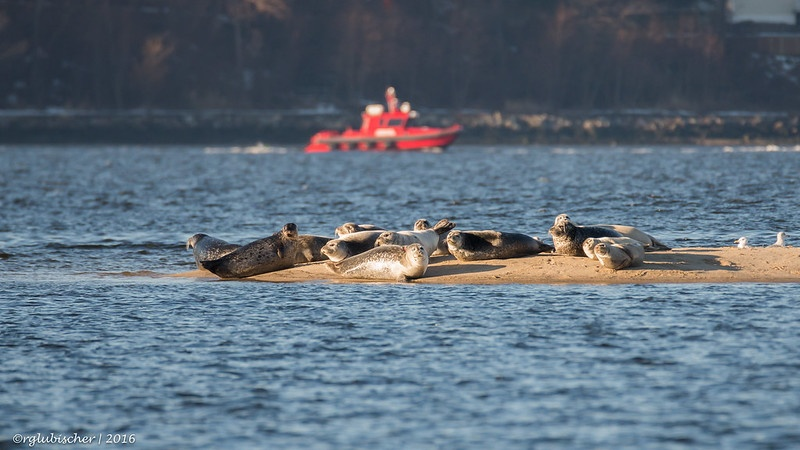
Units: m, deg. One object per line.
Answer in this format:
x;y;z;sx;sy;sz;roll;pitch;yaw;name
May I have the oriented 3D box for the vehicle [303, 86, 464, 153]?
-1.337;-11.664;193.429;19.919;5.660;6.601;-1;8;27;vehicle
